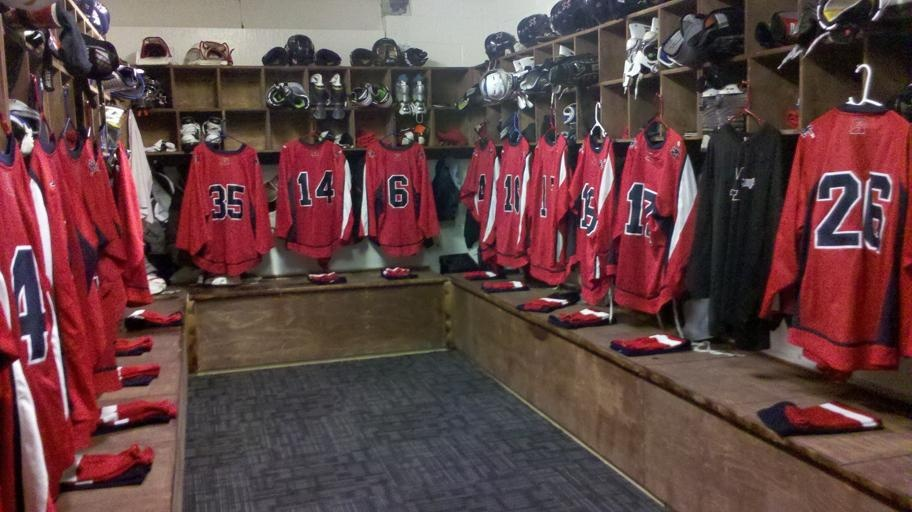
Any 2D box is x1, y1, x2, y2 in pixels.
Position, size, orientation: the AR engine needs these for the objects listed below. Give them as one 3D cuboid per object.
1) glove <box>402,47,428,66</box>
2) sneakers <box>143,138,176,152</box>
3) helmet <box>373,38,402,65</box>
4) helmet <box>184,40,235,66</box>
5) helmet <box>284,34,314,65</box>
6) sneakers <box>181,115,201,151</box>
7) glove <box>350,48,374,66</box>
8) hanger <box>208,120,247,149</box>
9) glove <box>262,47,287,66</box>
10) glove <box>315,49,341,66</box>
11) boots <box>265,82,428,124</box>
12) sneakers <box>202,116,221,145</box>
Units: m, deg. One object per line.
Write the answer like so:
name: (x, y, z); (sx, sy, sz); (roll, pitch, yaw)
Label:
glove: (-0.438, -2.181, 6.348); (0.261, 0.166, 0.205); (7, -8, 35)
sneakers: (-2.942, -1.082, 5.819); (0.186, 0.073, 0.231); (-7, 9, -44)
helmet: (-0.744, -2.190, 6.377); (0.272, 0.271, 0.306); (0, -14, -14)
helmet: (-2.512, -2.049, 5.878); (0.445, 0.239, 0.200); (-6, 15, -18)
helmet: (-1.625, -2.115, 6.130); (0.307, 0.309, 0.310); (-1, -4, -22)
sneakers: (-2.649, -1.222, 5.808); (0.200, 0.312, 0.223); (-4, 15, -9)
glove: (-0.988, -2.132, 6.212); (0.180, 0.200, 0.231); (13, 31, 28)
hanger: (-2.348, -1.229, 5.952); (0.568, 0.223, 0.193); (24, 21, 27)
glove: (-1.856, -2.058, 6.051); (0.243, 0.167, 0.218); (-8, 6, 36)
glove: (-1.348, -2.085, 6.120); (0.253, 0.186, 0.111); (-4, 15, -10)
boots: (-1.128, -1.636, 6.148); (1.655, 0.502, 0.305); (-5, 15, -17)
sneakers: (-2.446, -1.253, 5.842); (0.133, 0.143, 0.351); (1, 18, -21)
